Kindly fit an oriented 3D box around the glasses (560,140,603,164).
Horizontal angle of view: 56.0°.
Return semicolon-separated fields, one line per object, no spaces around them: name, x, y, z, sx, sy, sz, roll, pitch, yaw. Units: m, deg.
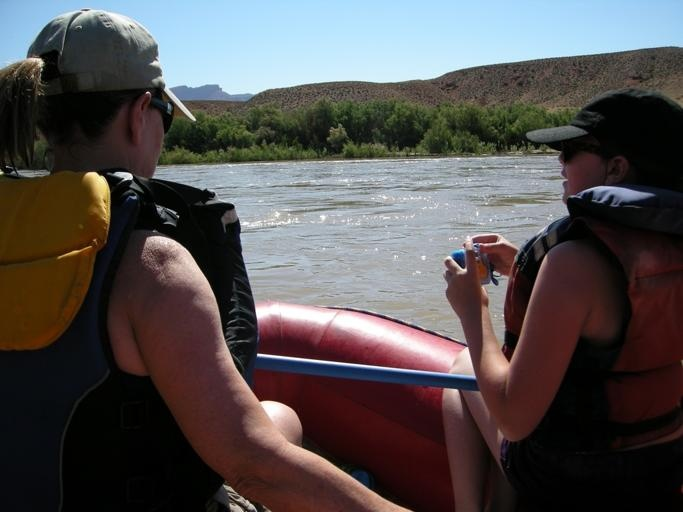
glasses;0.628;-0.287;1.700;0.056;0.061;0.019;0;25;43

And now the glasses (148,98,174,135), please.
glasses;-0.418;-0.329;1.480;0.061;0.033;0.046;30;-6;-26
